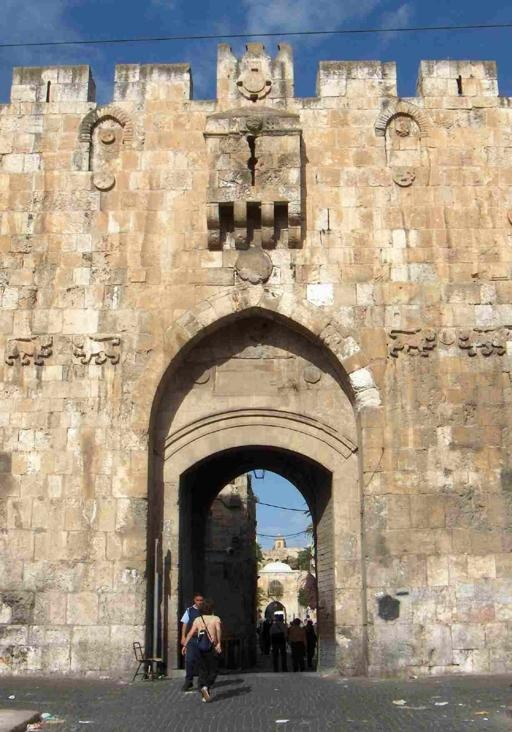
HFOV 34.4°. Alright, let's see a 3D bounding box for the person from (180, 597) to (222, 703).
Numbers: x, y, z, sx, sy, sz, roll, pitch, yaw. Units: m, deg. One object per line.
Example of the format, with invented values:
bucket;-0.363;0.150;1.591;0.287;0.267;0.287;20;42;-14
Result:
person;-0.567;3.057;8.982;0.367;1.174;0.329;0;5;20
